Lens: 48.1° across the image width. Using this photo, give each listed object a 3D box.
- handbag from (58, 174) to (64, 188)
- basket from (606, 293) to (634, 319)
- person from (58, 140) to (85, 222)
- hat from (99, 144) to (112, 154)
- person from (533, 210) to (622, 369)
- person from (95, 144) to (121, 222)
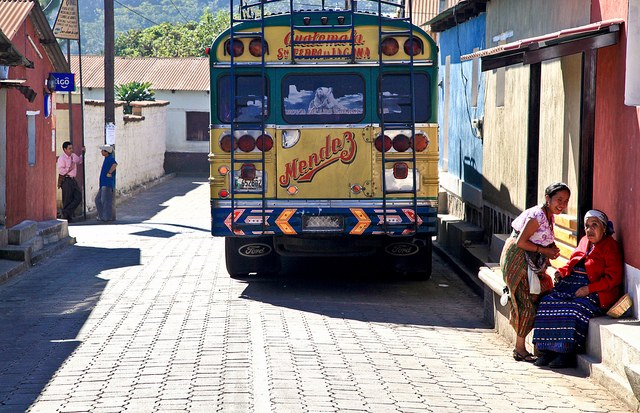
[{"bbox_3d":[-7.496,-0.733,20.695,0.285,0.302,0.101,6,4,23],"label":"handbag"},{"bbox_3d":[3.525,1.171,8.380,0.272,0.263,0.142,0,6,-3],"label":"basket"},{"bbox_3d":[-7.238,-0.717,20.896,0.760,2.344,0.658,-5,8,-45],"label":"person"},{"bbox_3d":[-6.171,-1.684,20.605,0.254,0.130,0.356,-12,24,-41],"label":"hat"},{"bbox_3d":[3.134,0.993,8.648,0.964,1.907,0.572,3,6,23],"label":"person"},{"bbox_3d":[-6.290,-0.683,21.007,0.554,2.270,1.284,-1,6,-18],"label":"person"}]
